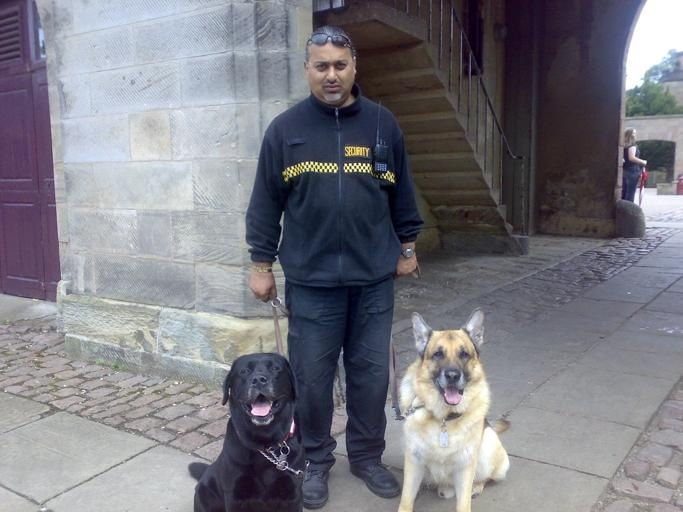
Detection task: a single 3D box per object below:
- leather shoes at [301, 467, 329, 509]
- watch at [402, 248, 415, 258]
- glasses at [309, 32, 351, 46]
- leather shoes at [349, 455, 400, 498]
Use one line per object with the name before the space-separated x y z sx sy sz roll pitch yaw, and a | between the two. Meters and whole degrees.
leather shoes | -0.156 1.391 3.255 0.125 0.148 0.388 0 0 2
watch | 0.432 -0.027 3.371 0.050 0.034 0.070 -2 -5 -5
glasses | -0.061 -1.230 2.999 0.237 0.078 0.101 -2 11 -4
leather shoes | 0.211 1.353 3.281 0.134 0.131 0.332 -4 4 -35
